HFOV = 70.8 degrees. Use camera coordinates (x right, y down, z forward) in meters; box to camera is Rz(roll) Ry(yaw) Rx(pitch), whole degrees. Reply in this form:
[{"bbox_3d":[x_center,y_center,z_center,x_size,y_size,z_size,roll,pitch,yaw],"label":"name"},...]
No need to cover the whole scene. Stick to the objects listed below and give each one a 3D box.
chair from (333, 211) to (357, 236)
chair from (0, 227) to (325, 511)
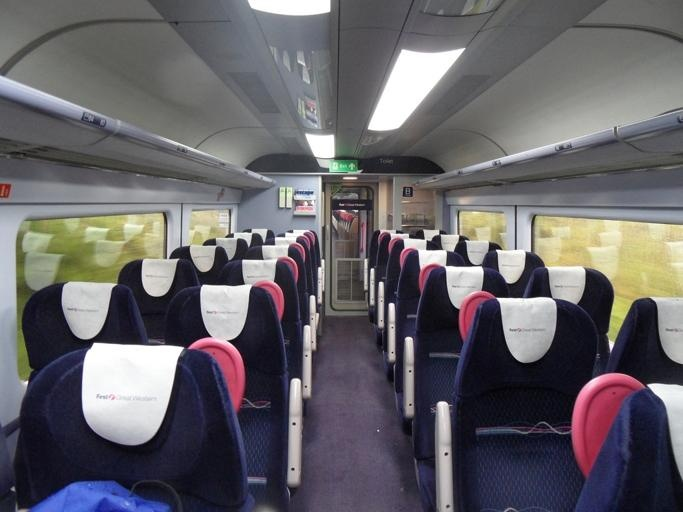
[{"bbox_3d":[0.059,-0.689,10.077,0.521,0.516,0.369,-1,13,-6],"label":"chair"},{"bbox_3d":[-0.914,0.713,2.740,1.199,1.717,1.425,0,-6,6],"label":"chair"}]
